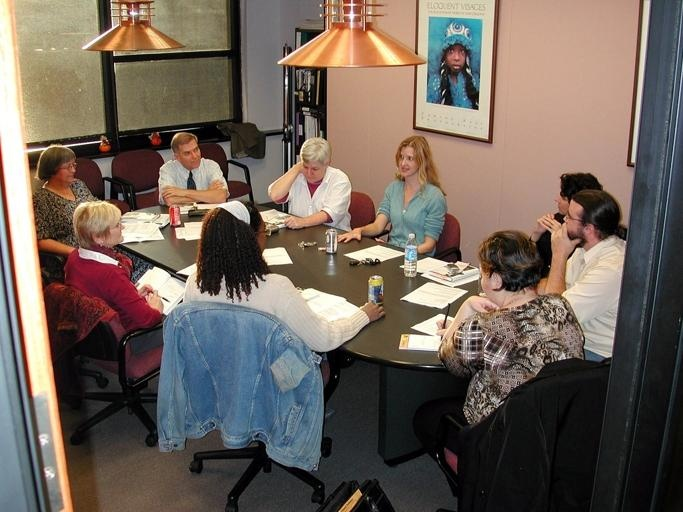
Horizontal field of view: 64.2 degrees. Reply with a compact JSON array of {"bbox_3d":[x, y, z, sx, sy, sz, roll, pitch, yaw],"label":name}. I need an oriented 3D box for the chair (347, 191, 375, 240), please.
[{"bbox_3d":[0.177,-0.337,4.907,0.304,0.414,0.323,5,3,-9],"label":"chair"}]

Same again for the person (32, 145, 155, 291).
[{"bbox_3d":[-2.013,-0.196,4.393,0.716,1.347,0.772,17,29,20],"label":"person"}]

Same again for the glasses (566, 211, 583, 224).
[{"bbox_3d":[1.232,-0.210,2.875,0.046,0.034,0.065,2,33,6],"label":"glasses"}]

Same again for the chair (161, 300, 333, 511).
[{"bbox_3d":[-0.405,0.524,2.779,0.791,1.148,0.788,10,34,12],"label":"chair"}]

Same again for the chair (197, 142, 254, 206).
[{"bbox_3d":[-1.308,-0.851,6.610,0.482,0.942,0.495,2,12,-8],"label":"chair"}]

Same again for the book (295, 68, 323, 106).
[{"bbox_3d":[-0.398,-2.129,6.824,0.219,0.453,0.430,-13,24,-35],"label":"book"}]

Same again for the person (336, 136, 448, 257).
[{"bbox_3d":[0.446,-0.190,4.343,0.688,1.420,0.811,6,18,21],"label":"person"}]

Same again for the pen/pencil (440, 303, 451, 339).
[{"bbox_3d":[0.526,0.335,2.767,0.019,0.022,0.166,10,48,22],"label":"pen/pencil"}]

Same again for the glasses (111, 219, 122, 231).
[{"bbox_3d":[-1.351,-0.187,3.270,0.039,0.053,0.056,4,59,0],"label":"glasses"}]

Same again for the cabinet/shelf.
[{"bbox_3d":[-0.353,-2.024,6.903,0.516,1.468,0.191,22,39,22],"label":"cabinet/shelf"}]

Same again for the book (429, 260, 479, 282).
[{"bbox_3d":[0.711,0.095,3.403,0.179,0.025,0.148,-15,22,-37],"label":"book"}]

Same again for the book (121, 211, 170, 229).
[{"bbox_3d":[-1.583,-0.307,4.411,0.224,0.061,0.217,-11,18,-37],"label":"book"}]
